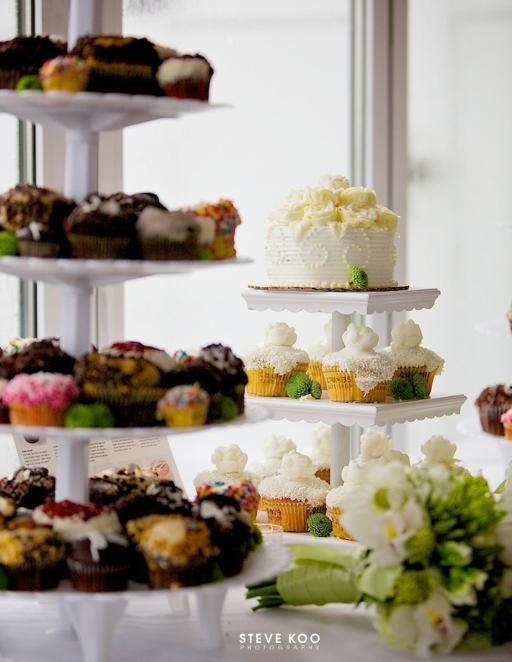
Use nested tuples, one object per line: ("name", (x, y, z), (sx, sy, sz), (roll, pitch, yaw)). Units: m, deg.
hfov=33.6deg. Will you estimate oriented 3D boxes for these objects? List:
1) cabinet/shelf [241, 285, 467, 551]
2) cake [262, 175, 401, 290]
("cabinet/shelf", (0.249, 0.200, 2.545), (0.760, 0.579, 0.671), (0, 2, -4))
("cake", (0.217, -0.268, 2.416), (0.381, 0.239, 0.353), (0, 1, -2))
